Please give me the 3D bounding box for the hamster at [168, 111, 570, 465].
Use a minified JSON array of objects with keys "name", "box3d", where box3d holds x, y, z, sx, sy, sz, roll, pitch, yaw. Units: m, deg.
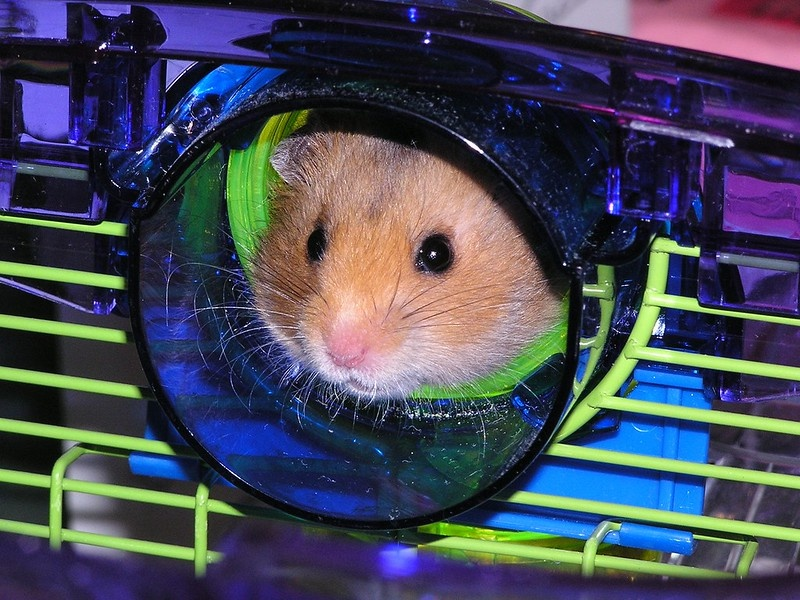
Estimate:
[{"name":"hamster","box3d":[0.036,-0.040,0.947,0.314,0.380,0.220,-5,-70,24]}]
